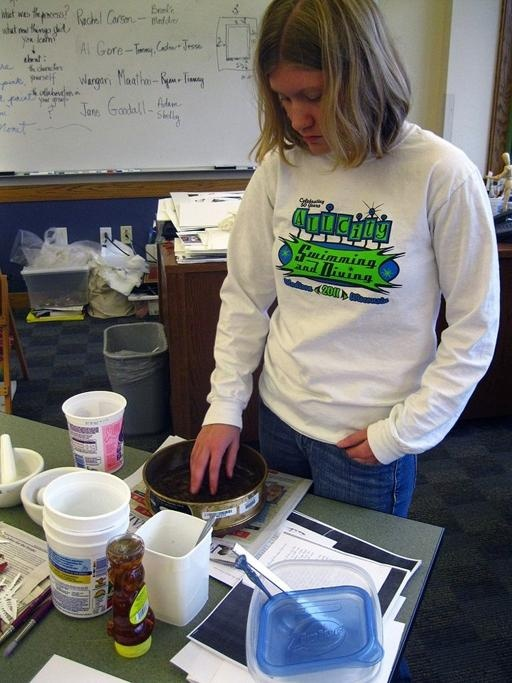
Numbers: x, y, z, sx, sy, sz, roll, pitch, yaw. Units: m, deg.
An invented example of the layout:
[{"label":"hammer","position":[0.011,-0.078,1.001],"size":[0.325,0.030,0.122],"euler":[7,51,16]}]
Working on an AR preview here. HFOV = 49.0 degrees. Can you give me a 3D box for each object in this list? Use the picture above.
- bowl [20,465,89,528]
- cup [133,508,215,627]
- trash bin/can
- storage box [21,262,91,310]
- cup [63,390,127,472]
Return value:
[{"label":"bowl","position":[-0.324,0.231,0.899],"size":[0.118,0.048,0.112],"euler":[0,12,0]},{"label":"cup","position":[-0.100,0.291,0.731],"size":[0.082,0.130,0.102],"euler":[3,17,12]},{"label":"trash bin/can","position":[-0.466,0.147,2.215],"size":[0.276,0.378,0.404],"euler":[-3,21,-7]},{"label":"storage box","position":[-1.362,-0.383,3.868],"size":[0.422,0.233,0.287],"euler":[-6,20,-17]},{"label":"cup","position":[-0.284,0.161,0.989],"size":[0.109,0.106,0.109],"euler":[2,27,-1]}]
